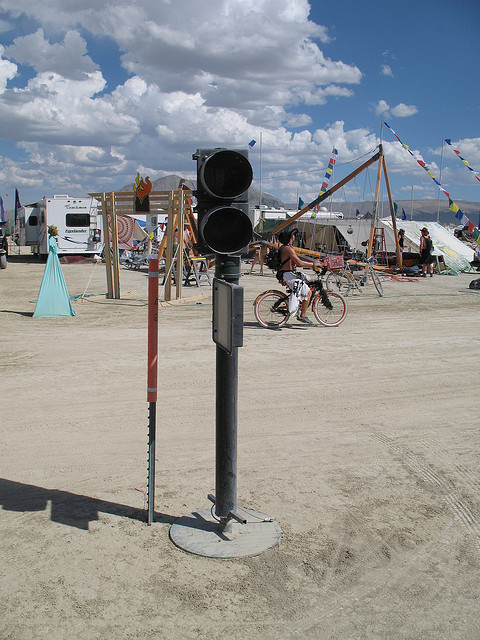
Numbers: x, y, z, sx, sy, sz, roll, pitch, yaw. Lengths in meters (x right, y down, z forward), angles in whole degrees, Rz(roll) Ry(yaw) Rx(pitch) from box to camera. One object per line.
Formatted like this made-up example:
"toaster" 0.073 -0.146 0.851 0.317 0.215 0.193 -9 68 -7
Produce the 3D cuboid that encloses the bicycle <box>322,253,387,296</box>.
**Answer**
"bicycle" 3.695 -1.530 18.184 1.083 1.391 2.341 2 3 34

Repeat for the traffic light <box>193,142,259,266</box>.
"traffic light" -0.086 -0.594 2.832 0.323 0.584 0.238 1 7 -2

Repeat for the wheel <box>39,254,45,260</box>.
"wheel" -11.555 -3.666 31.397 0.357 0.354 0.251 0 13 -5

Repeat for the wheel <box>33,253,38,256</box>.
"wheel" -12.712 -4.070 33.461 0.105 0.158 0.824 -3 8 -29

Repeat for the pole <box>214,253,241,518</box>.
"pole" -0.081 0.369 2.981 0.145 1.468 0.292 1 7 -2

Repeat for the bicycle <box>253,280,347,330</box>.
"bicycle" 1.213 -0.449 10.698 1.847 1.195 0.857 -2 7 -7

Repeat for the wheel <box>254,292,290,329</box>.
"wheel" 0.614 -0.195 10.526 0.674 0.690 0.377 1 7 -4
